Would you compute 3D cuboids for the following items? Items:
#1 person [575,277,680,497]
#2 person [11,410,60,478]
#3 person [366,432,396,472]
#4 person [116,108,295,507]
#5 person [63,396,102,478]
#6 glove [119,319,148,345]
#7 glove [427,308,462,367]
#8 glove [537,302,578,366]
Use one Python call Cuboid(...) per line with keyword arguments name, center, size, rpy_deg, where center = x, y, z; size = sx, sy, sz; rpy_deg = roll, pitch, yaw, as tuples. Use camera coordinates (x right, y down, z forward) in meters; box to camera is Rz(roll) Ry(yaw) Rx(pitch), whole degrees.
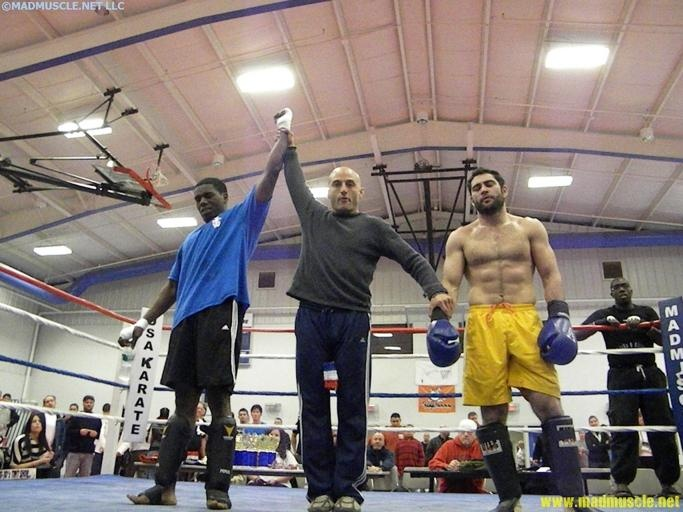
Cuboid(name="person", center=(2.204, 0.876, 3.503), size=(0.575, 1.667, 0.865), rpy_deg=(-11, -25, 24))
Cuboid(name="person", center=(-3.742, 2.285, 5.651), size=(0.548, 0.704, 0.469), rpy_deg=(-6, -6, 44))
Cuboid(name="person", center=(0.502, 2.811, 6.587), size=(0.594, 0.568, 0.759), rpy_deg=(2, -20, -3))
Cuboid(name="person", center=(-0.660, 0.198, 2.393), size=(0.938, 1.933, 0.327), rpy_deg=(-16, -29, 34))
Cuboid(name="person", center=(-4.128, 2.970, 7.301), size=(0.516, 0.884, 0.717), rpy_deg=(12, -25, -25))
Cuboid(name="glove", center=(-1.107, 0.411, 2.521), size=(0.170, 0.100, 0.066), rpy_deg=(-39, -25, 10))
Cuboid(name="glove", center=(0.468, 0.375, 2.120), size=(0.148, 0.226, 0.286), rpy_deg=(-4, -23, 11))
Cuboid(name="glove", center=(1.022, 0.358, 2.203), size=(0.158, 0.325, 0.247), rpy_deg=(-12, -26, 26))
